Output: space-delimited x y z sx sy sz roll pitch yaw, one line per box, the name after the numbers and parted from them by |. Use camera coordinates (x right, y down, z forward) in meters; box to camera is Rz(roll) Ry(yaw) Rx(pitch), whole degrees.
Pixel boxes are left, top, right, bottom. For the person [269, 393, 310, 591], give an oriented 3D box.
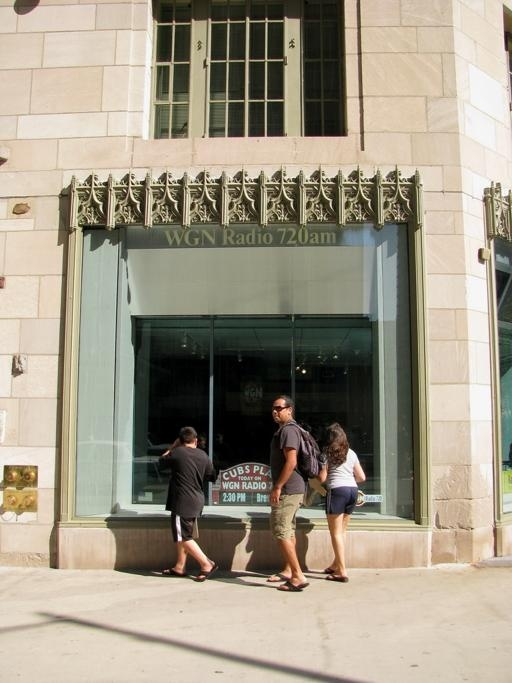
0.324 1.522 7.869 0.358 1.883 0.446 -1 -2 2 | person

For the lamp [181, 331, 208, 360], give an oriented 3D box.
-0.738 0.050 9.492 0.345 0.313 0.092 7 6 4 | lamp

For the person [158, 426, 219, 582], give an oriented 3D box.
-0.731 1.724 8.335 0.617 1.587 0.490 -1 -2 13 | person

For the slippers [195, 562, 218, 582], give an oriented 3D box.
-0.488 2.446 8.183 0.122 0.081 0.303 -35 6 44 | slippers

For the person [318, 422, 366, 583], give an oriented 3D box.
0.909 1.690 8.253 0.435 1.612 0.491 -1 -2 10 | person

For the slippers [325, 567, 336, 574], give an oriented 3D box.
0.788 2.458 8.371 0.149 0.039 0.053 -4 -10 21 | slippers

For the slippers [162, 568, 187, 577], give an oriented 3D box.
-0.881 2.469 8.393 0.241 0.071 0.103 3 -8 20 | slippers

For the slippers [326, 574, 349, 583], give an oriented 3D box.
0.836 2.420 8.053 0.212 0.057 0.082 0 -2 34 | slippers
